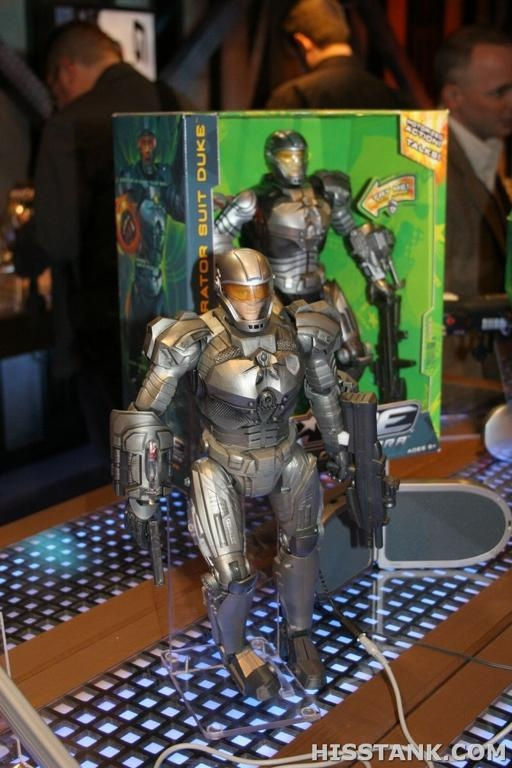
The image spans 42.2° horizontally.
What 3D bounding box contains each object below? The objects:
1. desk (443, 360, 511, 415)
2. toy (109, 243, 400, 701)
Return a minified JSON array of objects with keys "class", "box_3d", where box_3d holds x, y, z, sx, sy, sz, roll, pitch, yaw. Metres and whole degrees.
[{"class":"desk","box_3d":[1.509,0.001,4.628,0.404,0.304,0.677,3,12,16]},{"class":"toy","box_3d":[0.043,0.252,2.122,0.885,1.344,0.490,-10,15,-37]}]
